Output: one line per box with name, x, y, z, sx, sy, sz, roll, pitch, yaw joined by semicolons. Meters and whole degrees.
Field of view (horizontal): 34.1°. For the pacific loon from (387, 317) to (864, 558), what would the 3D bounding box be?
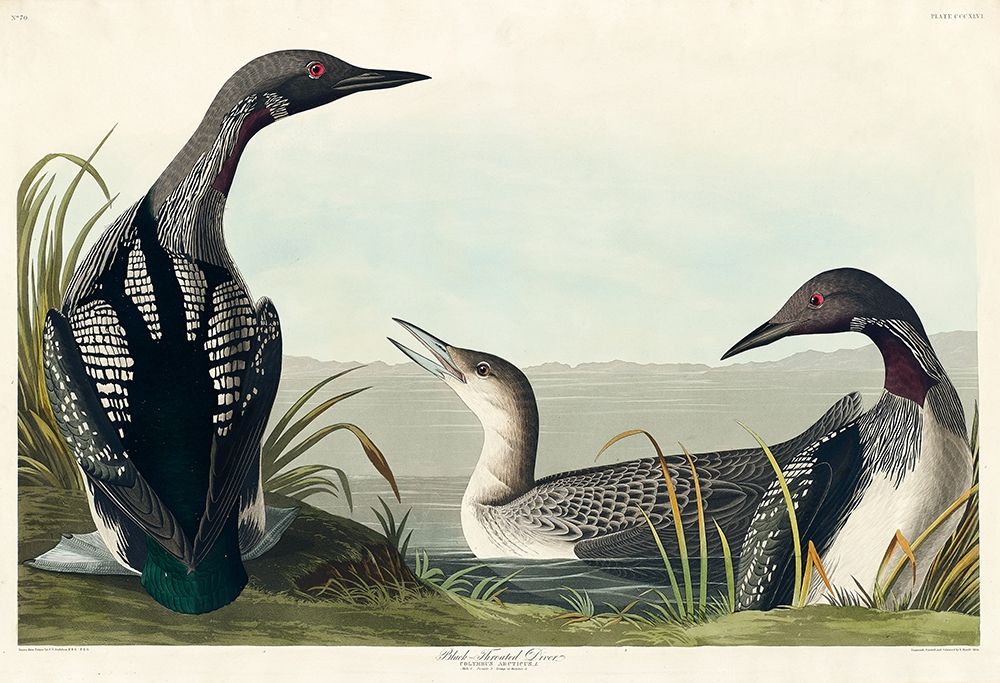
pacific loon;0.448;0.342;5.375;1.674;0.864;0.572;-2;17;-18
